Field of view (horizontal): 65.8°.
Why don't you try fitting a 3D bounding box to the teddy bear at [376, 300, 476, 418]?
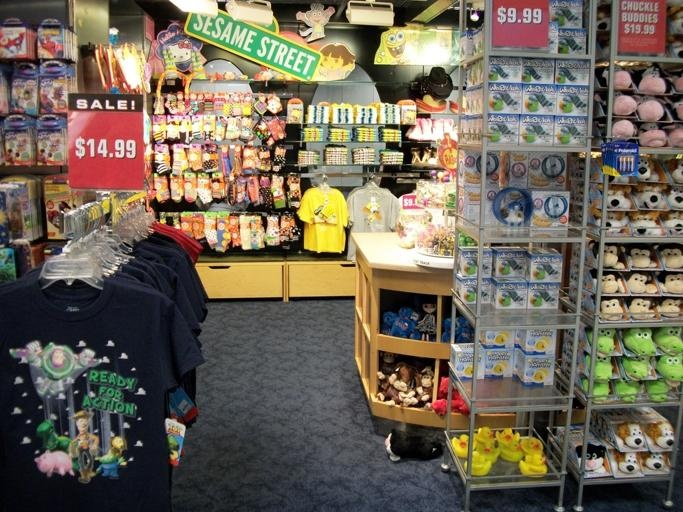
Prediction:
[{"bbox_3d":[0.616,0.755,3.801,0.415,0.810,0.855,1,7,-22],"label":"teddy bear"}]
